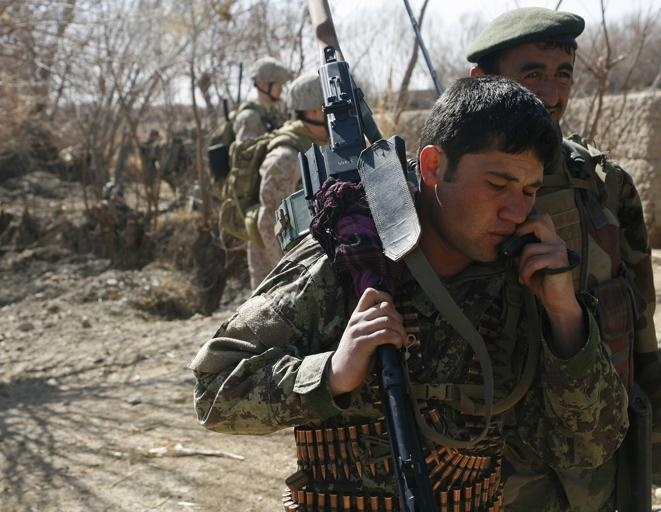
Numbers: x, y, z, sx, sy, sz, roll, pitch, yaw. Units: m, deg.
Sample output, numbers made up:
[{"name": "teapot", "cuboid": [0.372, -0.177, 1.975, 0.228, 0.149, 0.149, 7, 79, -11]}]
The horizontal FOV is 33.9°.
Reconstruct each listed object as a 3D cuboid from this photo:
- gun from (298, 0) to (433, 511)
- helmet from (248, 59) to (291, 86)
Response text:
[{"name": "gun", "cuboid": [0.178, 0.236, 5.959, 0.408, 3.229, 1.084, -8, -7, -7]}, {"name": "helmet", "cuboid": [-0.583, -1.772, 10.305, 0.306, 0.178, 0.228, -14, 27, -20]}]
